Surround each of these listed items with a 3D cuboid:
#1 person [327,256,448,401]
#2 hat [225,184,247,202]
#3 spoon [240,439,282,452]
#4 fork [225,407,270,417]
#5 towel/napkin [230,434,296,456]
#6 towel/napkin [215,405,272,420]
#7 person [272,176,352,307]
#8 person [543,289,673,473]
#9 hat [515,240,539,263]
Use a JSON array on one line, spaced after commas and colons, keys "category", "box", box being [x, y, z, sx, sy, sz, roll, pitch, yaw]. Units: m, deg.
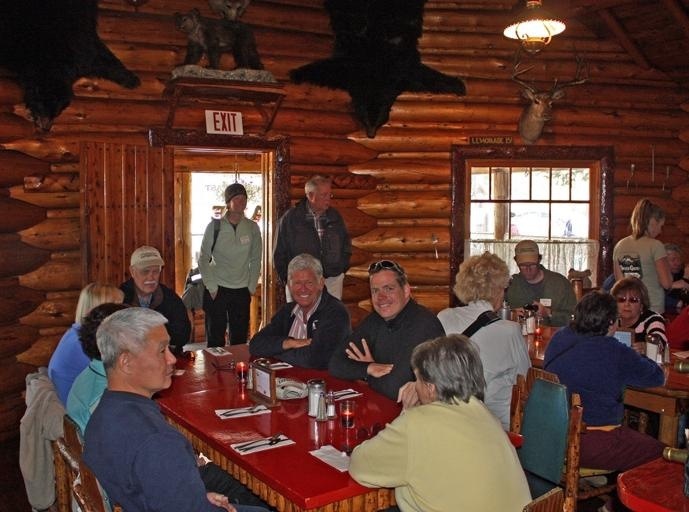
[{"category": "person", "box": [0.256, 0.442, 4.343, 0.887, 1.207, 0.981, -1, 3, -39]}, {"category": "hat", "box": [-1.307, -0.755, 6.687, 0.236, 0.181, 0.240, -8, -4, 38]}, {"category": "spoon", "box": [-0.450, 1.013, 2.993, 0.143, 0.018, 0.069, -7, 15, -22]}, {"category": "fork", "box": [-0.604, 0.956, 3.411, 0.138, 0.019, 0.085, -3, 8, -30]}, {"category": "towel/napkin", "box": [-0.448, 1.014, 2.996, 0.223, 0.031, 0.117, -3, 7, -28]}, {"category": "towel/napkin", "box": [-0.630, 0.957, 3.414, 0.181, 0.024, 0.113, -1, 6, -23]}, {"category": "person", "box": [-0.418, 0.276, 6.924, 1.081, 2.428, 0.695, 0, 10, -11]}, {"category": "person", "box": [1.901, 1.025, 4.264, 1.030, 1.404, 0.870, 7, 2, 25]}, {"category": "hat", "box": [1.892, -0.034, 5.793, 0.183, 0.140, 0.277, -3, 20, 19]}]
